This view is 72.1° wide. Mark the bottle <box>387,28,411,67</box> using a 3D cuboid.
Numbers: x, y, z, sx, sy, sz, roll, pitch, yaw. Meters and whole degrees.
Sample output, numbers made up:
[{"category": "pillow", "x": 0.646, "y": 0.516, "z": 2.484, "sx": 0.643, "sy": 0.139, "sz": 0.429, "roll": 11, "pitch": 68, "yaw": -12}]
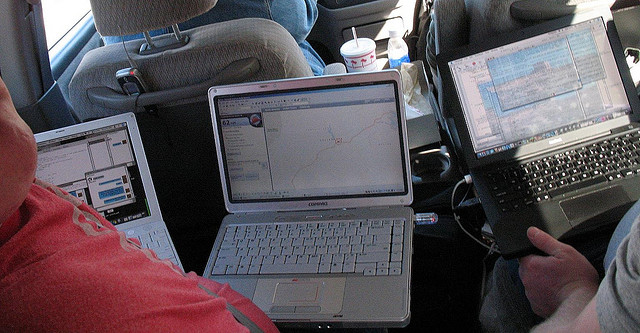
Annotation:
[{"category": "bottle", "x": 0.416, "y": -0.653, "z": 2.405, "sx": 0.105, "sy": 0.196, "sz": 0.159, "roll": -8, "pitch": 17, "yaw": 10}]

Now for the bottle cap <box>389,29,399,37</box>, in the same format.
[{"category": "bottle cap", "x": 0.394, "y": -0.719, "z": 2.369, "sx": 0.044, "sy": 0.029, "sz": 0.040, "roll": -21, "pitch": 43, "yaw": -2}]
